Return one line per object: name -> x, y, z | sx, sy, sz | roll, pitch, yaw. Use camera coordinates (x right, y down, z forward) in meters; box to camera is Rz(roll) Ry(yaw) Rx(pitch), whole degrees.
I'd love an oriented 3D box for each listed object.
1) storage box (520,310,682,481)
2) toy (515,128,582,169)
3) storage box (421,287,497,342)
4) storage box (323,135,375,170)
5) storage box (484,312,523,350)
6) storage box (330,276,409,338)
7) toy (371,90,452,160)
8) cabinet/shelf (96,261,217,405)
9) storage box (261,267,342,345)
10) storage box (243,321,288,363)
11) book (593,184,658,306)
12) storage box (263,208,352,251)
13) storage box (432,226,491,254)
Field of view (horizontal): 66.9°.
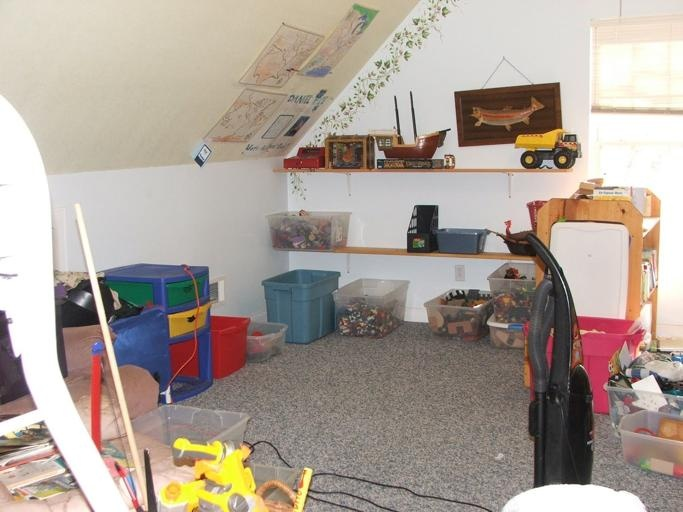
storage box -> 1.250, 0.589, 2.573 | 0.649, 0.489, 0.892 | 1, -3, 14
toy -> 1.452, -0.745, 3.648 | 0.458, 0.304, 0.252 | 1, 6, 19
storage box -> 0.868, 0.412, 3.812 | 0.337, 0.179, 0.425 | 2, 4, 28
storage box -> 0.098, -0.848, 4.222 | 0.424, 0.313, 0.243 | 6, 9, 31
storage box -> 1.102, 0.513, 3.496 | 0.245, 0.152, 0.194 | 2, 6, 28
storage box -> 0.253, 0.388, 4.089 | 0.494, 0.372, 0.529 | 3, 11, 22
toy -> 0.527, -0.998, 4.006 | 0.584, 0.489, 0.196 | 0, 5, 13
cabinet/shelf -> -1.149, 0.394, 2.955 | 0.698, 0.885, 0.607 | 2, 8, 20
storage box -> -0.308, 0.372, 4.093 | 0.459, 0.435, 0.634 | 2, 7, 21
storage box -> -0.580, 0.589, 3.597 | 0.330, 0.165, 0.426 | -6, 8, -5
book -> 1.633, -0.064, 2.987 | 0.278, 0.489, 0.805 | 1, 6, 20
storage box -> -0.288, -0.209, 4.198 | 0.525, 0.237, 0.355 | 0, 3, 18
storage box -> 0.933, -0.123, 3.991 | 0.393, 0.171, 0.285 | 2, 10, 18
